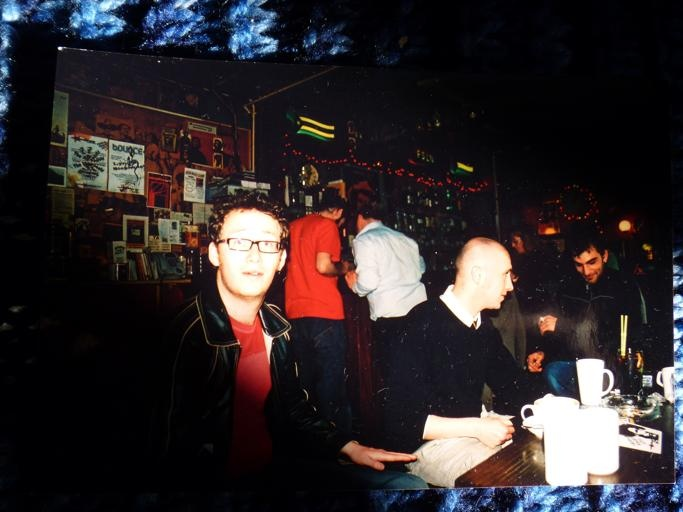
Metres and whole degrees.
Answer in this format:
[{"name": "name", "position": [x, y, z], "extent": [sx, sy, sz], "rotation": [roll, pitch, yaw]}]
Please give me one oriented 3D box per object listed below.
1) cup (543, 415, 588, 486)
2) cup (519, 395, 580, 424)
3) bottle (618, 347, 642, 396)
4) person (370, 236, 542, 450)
[{"name": "cup", "position": [0.918, 0.793, 2.173], "extent": [0.191, 0.325, 0.134], "rotation": [3, -2, 15]}, {"name": "cup", "position": [0.874, 0.636, 2.274], "extent": [0.211, 0.091, 0.143], "rotation": [-6, -9, -31]}, {"name": "bottle", "position": [1.338, 0.534, 2.455], "extent": [0.120, 0.213, 0.030], "rotation": [4, -2, -15]}, {"name": "person", "position": [0.618, 0.421, 2.476], "extent": [0.741, 0.951, 0.674], "rotation": [-1, 18, -21]}]
